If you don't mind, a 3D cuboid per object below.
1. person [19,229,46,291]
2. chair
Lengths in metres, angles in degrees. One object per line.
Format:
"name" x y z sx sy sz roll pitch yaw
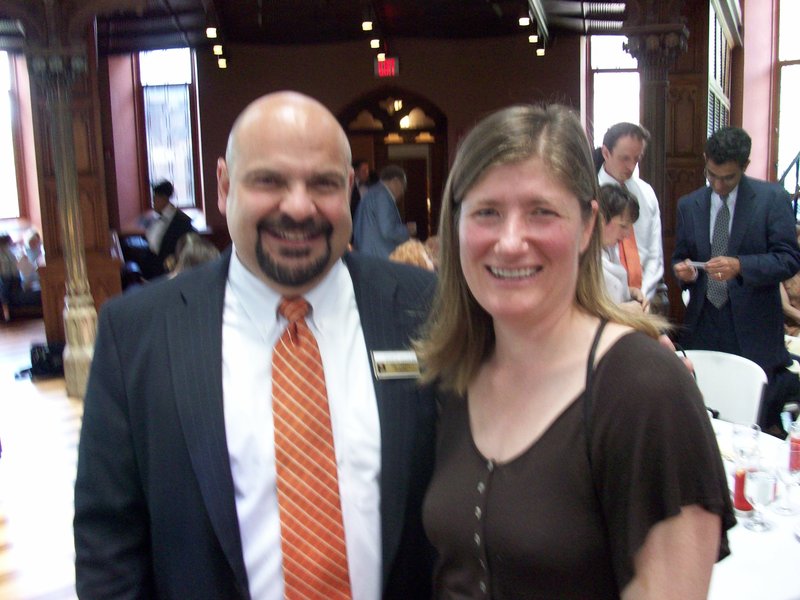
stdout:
"person" -6.032 -0.620 11.247 0.346 0.951 0.753 -5 6 -29
"chair" 1.729 0.573 3.653 0.350 0.510 0.349 2 10 18
